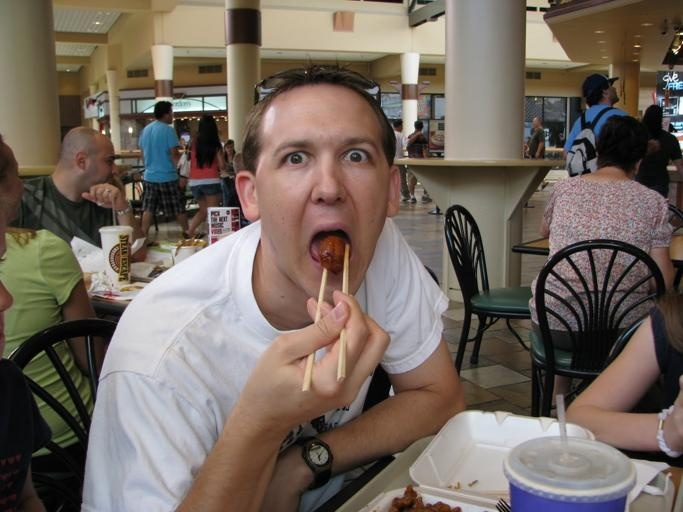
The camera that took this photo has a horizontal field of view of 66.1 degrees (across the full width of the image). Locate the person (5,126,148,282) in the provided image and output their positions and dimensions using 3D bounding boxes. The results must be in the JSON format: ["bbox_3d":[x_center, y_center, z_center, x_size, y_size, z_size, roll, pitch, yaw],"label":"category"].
[{"bbox_3d":[-1.687,-0.198,3.355,0.667,1.209,0.838,7,12,35],"label":"person"}]

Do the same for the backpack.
[{"bbox_3d":[2.653,-1.190,5.707,0.404,0.771,0.363,-2,9,-22],"label":"backpack"}]

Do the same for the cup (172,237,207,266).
[{"bbox_3d":[-0.810,-0.035,2.854,0.216,0.188,0.238,0,1,0],"label":"cup"}]

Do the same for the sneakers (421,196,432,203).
[{"bbox_3d":[2.308,-1.511,14.182,0.204,0.240,0.356,-1,-5,4],"label":"sneakers"}]

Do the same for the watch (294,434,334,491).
[{"bbox_3d":[-0.055,0.481,1.248,0.076,0.111,0.096,-9,-28,-26],"label":"watch"}]

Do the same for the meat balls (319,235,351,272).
[{"bbox_3d":[-0.018,0.000,1.171,0.063,0.086,0.042,-5,1,-43],"label":"meat balls"}]

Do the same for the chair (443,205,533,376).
[{"bbox_3d":[1.054,0.220,3.382,0.679,1.114,0.657,0,8,20],"label":"chair"}]
